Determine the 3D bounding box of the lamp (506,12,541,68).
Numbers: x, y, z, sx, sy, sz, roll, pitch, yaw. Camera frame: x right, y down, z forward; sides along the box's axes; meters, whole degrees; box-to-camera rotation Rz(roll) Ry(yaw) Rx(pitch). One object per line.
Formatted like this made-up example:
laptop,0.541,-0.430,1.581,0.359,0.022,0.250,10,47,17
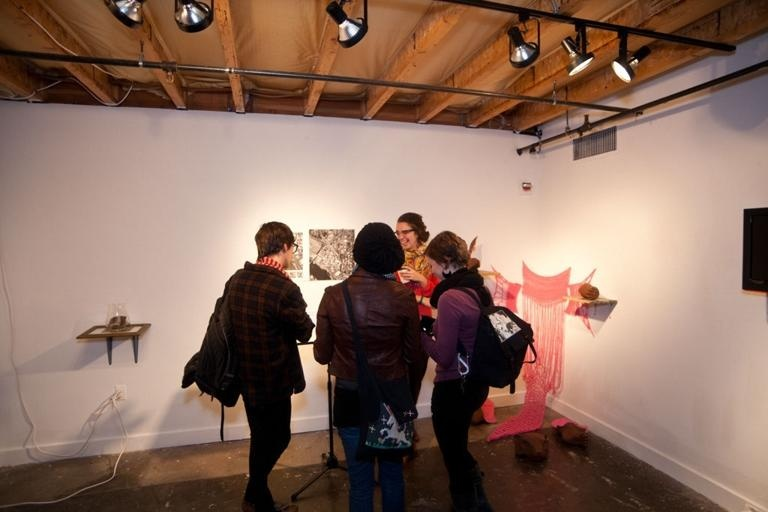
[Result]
lamp,1.132,-1.811,4.233,0.272,0.245,0.488,-1,-37,28

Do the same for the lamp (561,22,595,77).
lamp,1.596,-1.763,4.318,0.224,0.377,0.211,-28,-9,22

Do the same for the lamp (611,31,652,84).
lamp,2.185,-1.783,4.526,0.279,0.490,0.166,-40,29,-1

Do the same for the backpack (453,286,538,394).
backpack,0.910,0.676,4.185,0.459,0.736,0.558,0,6,44

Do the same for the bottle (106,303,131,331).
bottle,-2.606,0.597,5.025,0.236,0.239,0.187,1,-3,36
